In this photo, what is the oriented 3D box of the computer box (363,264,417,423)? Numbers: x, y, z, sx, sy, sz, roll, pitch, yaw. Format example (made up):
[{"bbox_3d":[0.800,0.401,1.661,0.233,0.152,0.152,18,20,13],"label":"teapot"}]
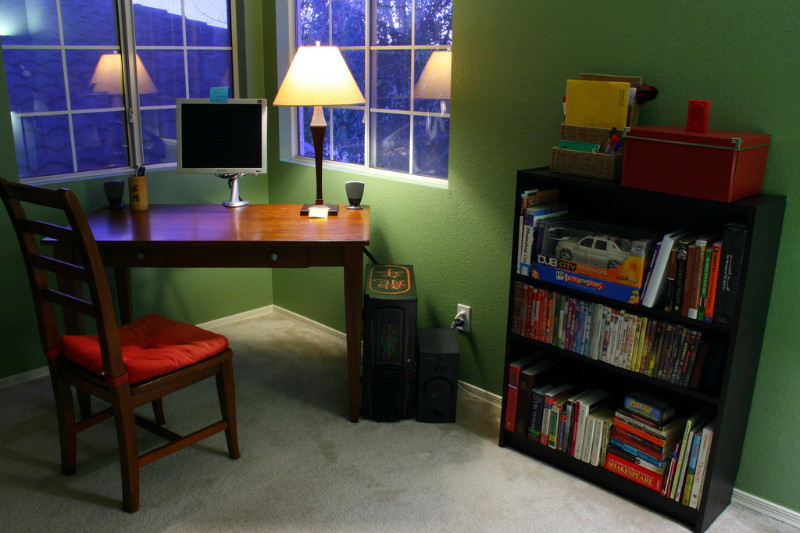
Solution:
[{"bbox_3d":[-0.053,0.442,3.548,0.301,0.780,0.366,2,15,-1],"label":"computer box"}]

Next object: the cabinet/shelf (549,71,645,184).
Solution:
[{"bbox_3d":[0.920,-0.662,2.923,0.375,0.431,0.258,14,32,27],"label":"cabinet/shelf"}]

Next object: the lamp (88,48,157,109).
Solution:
[{"bbox_3d":[-1.741,-1.232,4.019,0.410,0.242,0.372,-3,12,20],"label":"lamp"}]

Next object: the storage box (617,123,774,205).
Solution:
[{"bbox_3d":[1.342,-0.486,2.813,0.396,0.262,0.524,-16,24,-31],"label":"storage box"}]

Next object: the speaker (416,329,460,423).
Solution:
[{"bbox_3d":[0.213,0.615,3.546,0.243,0.463,0.274,3,15,3],"label":"speaker"}]

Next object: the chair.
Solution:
[{"bbox_3d":[-1.311,0.333,3.009,0.909,1.475,0.547,9,16,24],"label":"chair"}]

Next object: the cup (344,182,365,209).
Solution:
[{"bbox_3d":[-0.311,-0.431,3.794,0.156,0.180,0.152,0,8,0],"label":"cup"}]

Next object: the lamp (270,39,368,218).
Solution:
[{"bbox_3d":[-0.497,-0.822,3.712,0.491,0.989,0.461,-5,16,-25],"label":"lamp"}]

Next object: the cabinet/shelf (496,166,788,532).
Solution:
[{"bbox_3d":[1.163,0.390,2.884,1.311,1.897,0.572,16,22,42],"label":"cabinet/shelf"}]

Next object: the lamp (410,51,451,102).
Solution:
[{"bbox_3d":[0.150,-1.119,3.649,0.284,0.233,0.252,-3,20,-10],"label":"lamp"}]

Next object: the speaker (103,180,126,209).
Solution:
[{"bbox_3d":[-1.669,-0.430,3.741,0.164,0.177,0.161,-1,10,3],"label":"speaker"}]

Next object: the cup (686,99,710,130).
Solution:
[{"bbox_3d":[1.280,-0.633,2.673,0.083,0.136,0.074,11,3,43],"label":"cup"}]

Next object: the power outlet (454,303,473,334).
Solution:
[{"bbox_3d":[0.375,0.306,3.681,0.107,0.173,0.082,4,15,8],"label":"power outlet"}]

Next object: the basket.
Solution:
[{"bbox_3d":[0.930,-0.643,2.898,0.426,0.535,0.302,17,28,36],"label":"basket"}]

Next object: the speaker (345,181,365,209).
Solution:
[{"bbox_3d":[-0.266,-0.424,3.772,0.149,0.173,0.147,0,10,-3],"label":"speaker"}]
